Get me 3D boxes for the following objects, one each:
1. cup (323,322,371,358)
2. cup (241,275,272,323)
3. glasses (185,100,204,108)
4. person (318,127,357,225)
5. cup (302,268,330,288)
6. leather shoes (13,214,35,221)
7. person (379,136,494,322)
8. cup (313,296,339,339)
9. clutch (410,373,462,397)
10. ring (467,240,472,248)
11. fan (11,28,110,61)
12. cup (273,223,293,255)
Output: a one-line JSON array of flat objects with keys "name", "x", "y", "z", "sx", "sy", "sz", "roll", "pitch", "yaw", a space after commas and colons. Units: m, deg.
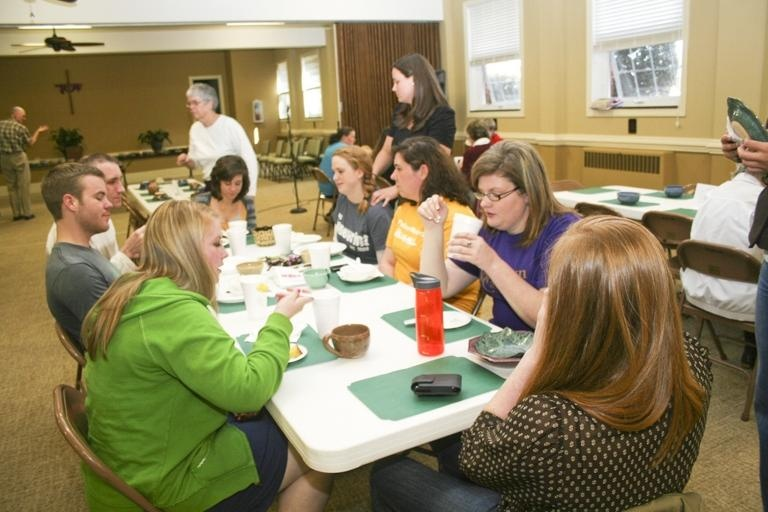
[{"name": "cup", "x": -0.141, "y": 0.329, "z": 1.932, "sx": 0.210, "sy": 0.102, "sz": 0.134, "roll": 0, "pitch": -1, "yaw": -44}, {"name": "cup", "x": -0.539, "y": 0.192, "z": 2.299, "sx": 0.114, "sy": 0.144, "sz": 0.116, "roll": -9, "pitch": -13, "yaw": -2}, {"name": "glasses", "x": -1.712, "y": -1.409, "z": 4.848, "sx": 0.109, "sy": 0.039, "sz": 0.118, "roll": 4, "pitch": 12, "yaw": 25}, {"name": "person", "x": -0.614, "y": -1.116, "z": 7.280, "sx": 0.717, "sy": 1.285, "sz": 0.737, "roll": -3, "pitch": 25, "yaw": -18}, {"name": "cup", "x": -0.314, "y": 0.096, "z": 2.451, "sx": 0.091, "sy": 0.063, "sz": 0.095, "roll": -1, "pitch": -1, "yaw": 0}, {"name": "leather shoes", "x": -6.192, "y": -0.691, "z": 9.116, "sx": 0.325, "sy": 0.152, "sz": 0.117, "roll": -5, "pitch": 12, "yaw": -23}, {"name": "person", "x": 0.198, "y": -0.217, "z": 3.309, "sx": 0.790, "sy": 1.300, "sz": 0.896, "roll": 1, "pitch": 8, "yaw": -3}, {"name": "cup", "x": -0.208, "y": 0.216, "z": 2.046, "sx": 0.106, "sy": 0.123, "sz": 0.103, "roll": -8, "pitch": 11, "yaw": 2}, {"name": "clutch", "x": 0.174, "y": 0.412, "z": 1.714, "sx": 0.103, "sy": 0.032, "sz": 0.086, "roll": -2, "pitch": 13, "yaw": 6}, {"name": "ring", "x": 0.348, "y": -0.049, "z": 2.103, "sx": 0.016, "sy": 0.023, "sz": 0.008, "roll": -2, "pitch": -16, "yaw": 13}, {"name": "fan", "x": -5.706, "y": -3.754, "z": 9.260, "sx": 1.463, "sy": 0.356, "sz": 1.469, "roll": -6, "pitch": 16, "yaw": -17}, {"name": "cup", "x": -0.582, "y": -0.111, "z": 3.150, "sx": 0.153, "sy": 0.191, "sz": 0.156, "roll": -1, "pitch": 8, "yaw": 0}]
